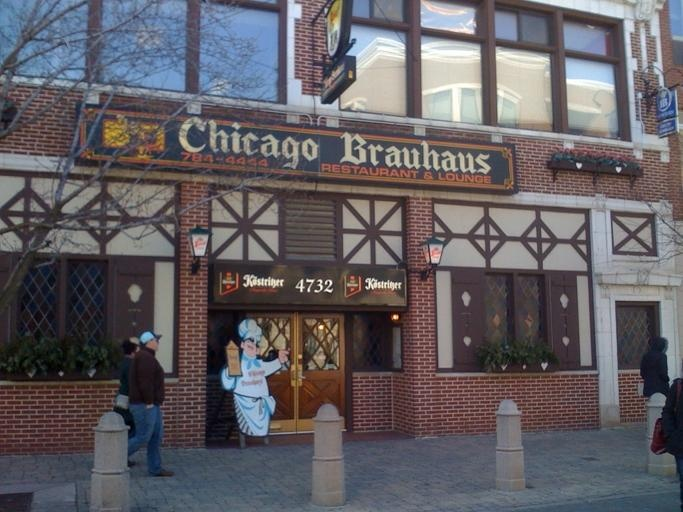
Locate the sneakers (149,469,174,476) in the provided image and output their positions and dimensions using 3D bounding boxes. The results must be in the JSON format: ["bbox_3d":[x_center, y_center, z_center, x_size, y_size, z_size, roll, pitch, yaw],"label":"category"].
[{"bbox_3d":[-3.385,4.018,15.815,0.408,0.173,0.153,0,-1,-12],"label":"sneakers"}]

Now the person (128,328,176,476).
[{"bbox_3d":[-3.638,2.794,15.869,0.734,2.628,0.542,0,2,-14],"label":"person"}]

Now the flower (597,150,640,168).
[{"bbox_3d":[7.356,-2.508,22.233,0.786,0.245,0.556,15,8,13],"label":"flower"}]

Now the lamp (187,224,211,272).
[{"bbox_3d":[-3.122,-0.104,18.509,0.474,1.059,0.648,0,2,-12],"label":"lamp"}]

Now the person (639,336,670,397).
[{"bbox_3d":[7.092,2.559,19.023,0.511,1.404,0.880,1,2,4],"label":"person"}]

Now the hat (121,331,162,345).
[{"bbox_3d":[-4.138,1.684,17.238,0.644,0.186,0.349,-11,8,-35],"label":"hat"}]
